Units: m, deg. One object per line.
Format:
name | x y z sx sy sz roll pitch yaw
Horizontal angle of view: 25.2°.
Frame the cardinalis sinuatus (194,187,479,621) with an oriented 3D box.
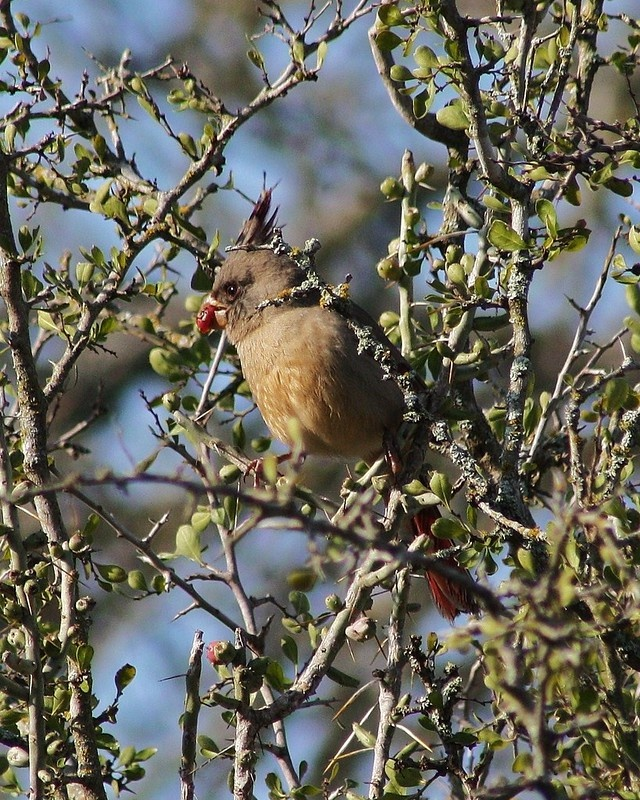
cardinalis sinuatus | 0.024 -0.029 4.646 0.423 1.214 1.120 1 90 38
